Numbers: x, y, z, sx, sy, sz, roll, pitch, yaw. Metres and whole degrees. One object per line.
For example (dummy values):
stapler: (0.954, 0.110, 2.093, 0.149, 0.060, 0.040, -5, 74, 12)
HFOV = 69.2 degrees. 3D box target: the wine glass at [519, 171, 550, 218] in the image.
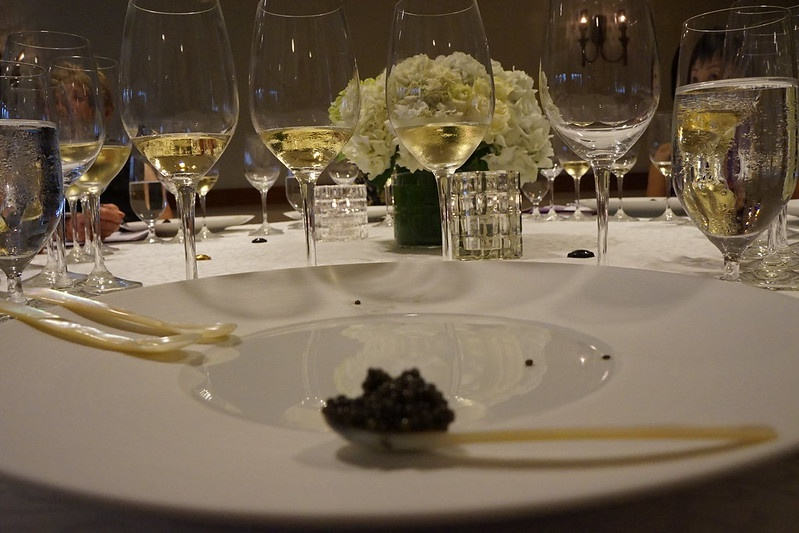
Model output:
wine glass: (0.512, -0.268, 2.163, 0.113, 0.175, 0.116, -10, 16, -15)

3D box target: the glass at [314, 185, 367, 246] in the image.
glass: (-0.141, -0.120, 1.299, 0.119, 0.121, 0.119, -4, 5, -32)

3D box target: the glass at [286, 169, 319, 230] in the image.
glass: (-0.333, -0.234, 1.986, 0.110, 0.191, 0.117, -9, -5, 38)

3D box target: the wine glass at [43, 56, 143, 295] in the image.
wine glass: (-0.511, -0.136, 0.961, 0.134, 0.346, 0.134, -2, 9, -4)

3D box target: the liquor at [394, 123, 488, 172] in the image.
liquor: (0.059, -0.166, 0.798, 0.095, 0.044, 0.099, -1, 3, -2)

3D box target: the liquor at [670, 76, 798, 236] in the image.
liquor: (0.335, -0.108, 0.580, 0.110, 0.156, 0.051, 5, 14, 25)

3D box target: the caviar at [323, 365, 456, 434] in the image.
caviar: (-0.006, 0.073, 0.328, 0.048, 0.022, 0.038, -3, -1, 10)

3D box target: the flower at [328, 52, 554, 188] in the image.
flower: (0.095, -0.238, 1.051, 0.261, 0.170, 0.267, -7, 11, -14)

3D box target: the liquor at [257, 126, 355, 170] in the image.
liquor: (-0.128, -0.164, 0.810, 0.145, 0.061, 0.149, -3, 11, -18)

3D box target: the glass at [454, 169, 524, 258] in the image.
glass: (0.144, -0.082, 0.940, 0.111, 0.139, 0.115, -2, 2, 5)
